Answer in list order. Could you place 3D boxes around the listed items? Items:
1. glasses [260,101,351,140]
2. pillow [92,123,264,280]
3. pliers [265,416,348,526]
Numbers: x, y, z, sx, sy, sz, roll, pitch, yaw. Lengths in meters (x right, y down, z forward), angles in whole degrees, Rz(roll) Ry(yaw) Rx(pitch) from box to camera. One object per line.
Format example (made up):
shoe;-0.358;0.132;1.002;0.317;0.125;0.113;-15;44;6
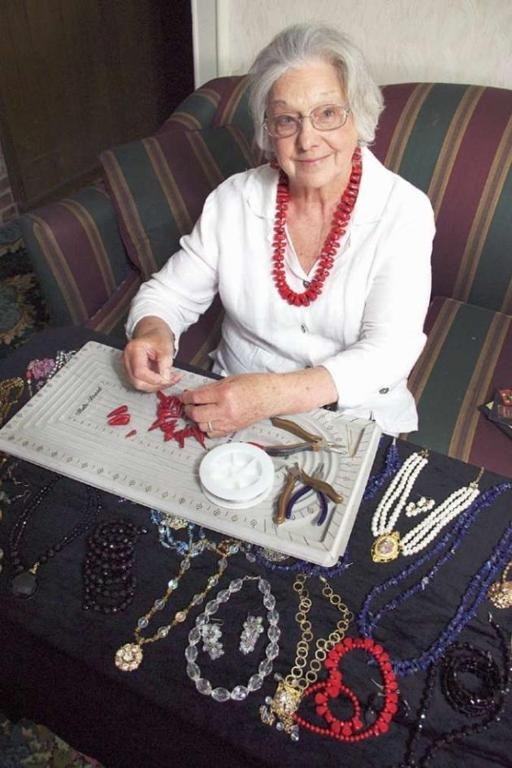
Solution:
glasses;0.096;-0.484;1.226;0.145;0.072;0.051;6;40;6
pillow;-0.223;-0.578;1.932;0.473;0.110;0.426;-17;87;-24
pliers;0.071;0.138;1.051;0.093;0.024;0.162;9;31;14
